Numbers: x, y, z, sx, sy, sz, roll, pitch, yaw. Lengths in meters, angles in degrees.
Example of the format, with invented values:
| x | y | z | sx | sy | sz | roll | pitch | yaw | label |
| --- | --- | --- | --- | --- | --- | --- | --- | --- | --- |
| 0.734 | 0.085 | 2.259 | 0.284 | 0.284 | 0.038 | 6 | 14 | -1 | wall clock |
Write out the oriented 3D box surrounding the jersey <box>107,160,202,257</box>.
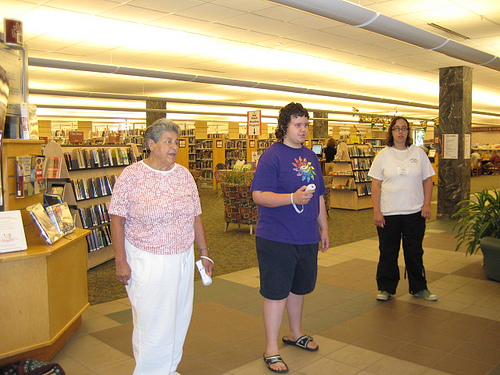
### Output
| x | y | z | sx | sy | sz | roll | pitch | yaw | label |
| --- | --- | --- | --- | --- | --- | --- | --- | --- | --- |
| -0.588 | 0.126 | 2.025 | 0.527 | 0.580 | 0.210 | -2 | 3 | -21 | jersey |

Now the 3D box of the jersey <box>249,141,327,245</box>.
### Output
| x | y | z | sx | sy | sz | roll | pitch | yaw | label |
| --- | --- | --- | --- | --- | --- | --- | --- | --- | --- |
| 0.310 | 0.045 | 2.430 | 0.605 | 0.794 | 0.354 | -1 | 2 | -5 | jersey |

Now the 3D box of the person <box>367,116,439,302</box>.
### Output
| x | y | z | sx | sy | sz | roll | pitch | yaw | label |
| --- | --- | --- | --- | --- | --- | --- | --- | --- | --- |
| 1.749 | 0.255 | 3.717 | 0.691 | 2.100 | 0.378 | 0 | 2 | 21 | person |

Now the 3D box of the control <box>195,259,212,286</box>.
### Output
| x | y | z | sx | sy | sz | roll | pitch | yaw | label |
| --- | --- | --- | --- | --- | --- | --- | --- | --- | --- |
| -0.312 | 0.583 | 2.218 | 0.102 | 0.191 | 0.047 | -16 | -2 | -38 | control |

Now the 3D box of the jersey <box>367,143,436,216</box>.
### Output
| x | y | z | sx | sy | sz | roll | pitch | yaw | label |
| --- | --- | --- | --- | --- | --- | --- | --- | --- | --- |
| 1.764 | -0.115 | 3.753 | 0.868 | 0.746 | 0.457 | 0 | 6 | 4 | jersey |

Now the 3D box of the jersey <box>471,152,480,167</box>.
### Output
| x | y | z | sx | sy | sz | roll | pitch | yaw | label |
| --- | --- | --- | --- | --- | --- | --- | --- | --- | --- |
| 16.953 | -2.065 | 24.225 | 0.476 | 1.038 | 1.068 | 1 | 3 | 36 | jersey |

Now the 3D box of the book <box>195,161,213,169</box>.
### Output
| x | y | z | sx | sy | sz | roll | pitch | yaw | label |
| --- | --- | --- | --- | --- | --- | --- | --- | --- | --- |
| -2.574 | -1.295 | 18.302 | 1.253 | 0.362 | 0.404 | -2 | -2 | 27 | book |

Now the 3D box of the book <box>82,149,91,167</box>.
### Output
| x | y | z | sx | sy | sz | roll | pitch | yaw | label |
| --- | --- | --- | --- | --- | --- | --- | --- | --- | --- |
| -2.788 | -0.498 | 5.541 | 0.111 | 0.289 | 0.153 | -2 | 3 | -26 | book |

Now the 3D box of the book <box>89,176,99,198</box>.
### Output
| x | y | z | sx | sy | sz | roll | pitch | yaw | label |
| --- | --- | --- | --- | --- | --- | --- | --- | --- | --- |
| -2.678 | -0.015 | 5.570 | 0.070 | 0.249 | 0.271 | -4 | -3 | -19 | book |

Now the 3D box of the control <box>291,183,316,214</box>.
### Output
| x | y | z | sx | sy | sz | roll | pitch | yaw | label |
| --- | --- | --- | --- | --- | --- | --- | --- | --- | --- |
| 0.359 | 0.060 | 2.194 | 0.081 | 0.222 | 0.131 | 40 | 13 | -3 | control |

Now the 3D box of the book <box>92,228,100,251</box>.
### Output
| x | y | z | sx | sy | sz | roll | pitch | yaw | label |
| --- | --- | --- | --- | --- | --- | --- | --- | --- | --- |
| -2.553 | 0.853 | 5.334 | 0.072 | 0.339 | 0.133 | -1 | 2 | 6 | book |

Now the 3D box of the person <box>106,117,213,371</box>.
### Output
| x | y | z | sx | sy | sz | roll | pitch | yaw | label |
| --- | --- | --- | --- | --- | --- | --- | --- | --- | --- |
| -0.571 | 0.352 | 2.032 | 0.557 | 1.564 | 0.224 | -2 | 2 | -22 | person |

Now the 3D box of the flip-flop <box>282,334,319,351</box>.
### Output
| x | y | z | sx | sy | sz | roll | pitch | yaw | label |
| --- | --- | --- | --- | --- | --- | --- | --- | --- | --- |
| 0.430 | 1.305 | 2.732 | 0.288 | 0.081 | 0.110 | -1 | 2 | 37 | flip-flop |

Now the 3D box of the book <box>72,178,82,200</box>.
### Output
| x | y | z | sx | sy | sz | roll | pitch | yaw | label |
| --- | --- | --- | --- | --- | --- | --- | --- | --- | --- |
| -2.784 | 0.023 | 5.213 | 0.123 | 0.347 | 0.419 | -2 | 3 | -28 | book |

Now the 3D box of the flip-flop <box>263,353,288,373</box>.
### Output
| x | y | z | sx | sy | sz | roll | pitch | yaw | label |
| --- | --- | --- | --- | --- | --- | --- | --- | --- | --- |
| 0.198 | 1.308 | 2.431 | 0.170 | 0.110 | 0.139 | -1 | 3 | -3 | flip-flop |
